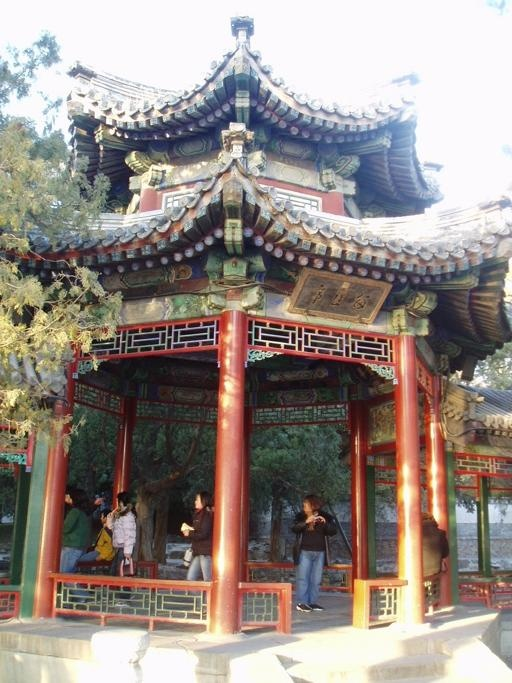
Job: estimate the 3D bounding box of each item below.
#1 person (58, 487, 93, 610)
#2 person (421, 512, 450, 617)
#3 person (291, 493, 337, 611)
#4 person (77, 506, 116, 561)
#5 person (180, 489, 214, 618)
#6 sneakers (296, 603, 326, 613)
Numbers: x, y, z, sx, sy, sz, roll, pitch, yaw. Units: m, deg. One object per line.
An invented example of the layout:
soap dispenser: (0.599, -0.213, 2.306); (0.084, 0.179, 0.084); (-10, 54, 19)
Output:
person: (-2.117, 2.384, 7.874); (0.403, 1.391, 1.543); (6, -21, -13)
person: (2.239, 2.726, 8.239); (0.326, 1.163, 1.395); (-5, -21, 14)
person: (0.712, 2.582, 8.059); (0.481, 1.317, 0.825); (-1, -21, 4)
person: (-2.015, 2.486, 8.529); (0.507, 0.676, 0.573); (8, -7, -37)
person: (-0.632, 2.083, 7.134); (0.321, 0.917, 0.722); (3, -21, -5)
sneakers: (0.709, 3.286, 8.197); (0.380, 0.144, 0.120); (-7, -17, 19)
